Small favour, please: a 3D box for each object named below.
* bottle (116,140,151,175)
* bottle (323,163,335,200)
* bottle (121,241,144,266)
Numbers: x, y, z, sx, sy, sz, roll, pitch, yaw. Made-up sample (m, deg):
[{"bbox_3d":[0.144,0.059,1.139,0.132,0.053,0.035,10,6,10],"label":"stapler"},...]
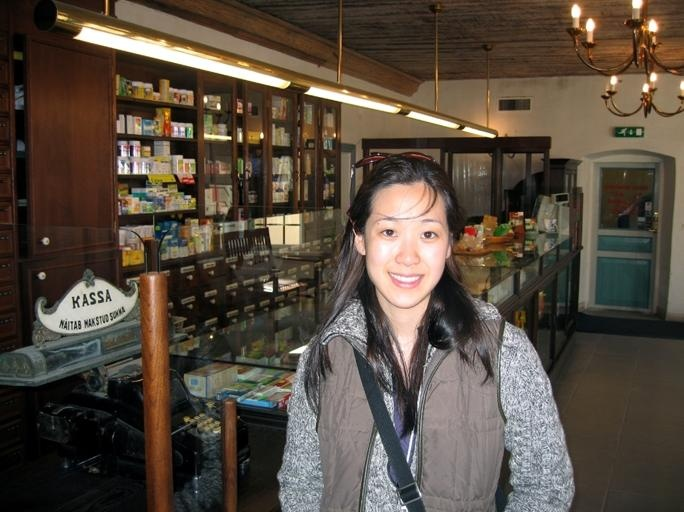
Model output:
[{"bbox_3d":[-1.902,-0.886,4.627,0.116,0.312,0.347,3,9,17],"label":"bottle"},{"bbox_3d":[-0.201,-1.115,7.479,0.151,0.515,0.478,0,-6,5],"label":"bottle"},{"bbox_3d":[-1.645,-0.020,3.994,0.097,0.128,0.180,0,5,13],"label":"bottle"}]
